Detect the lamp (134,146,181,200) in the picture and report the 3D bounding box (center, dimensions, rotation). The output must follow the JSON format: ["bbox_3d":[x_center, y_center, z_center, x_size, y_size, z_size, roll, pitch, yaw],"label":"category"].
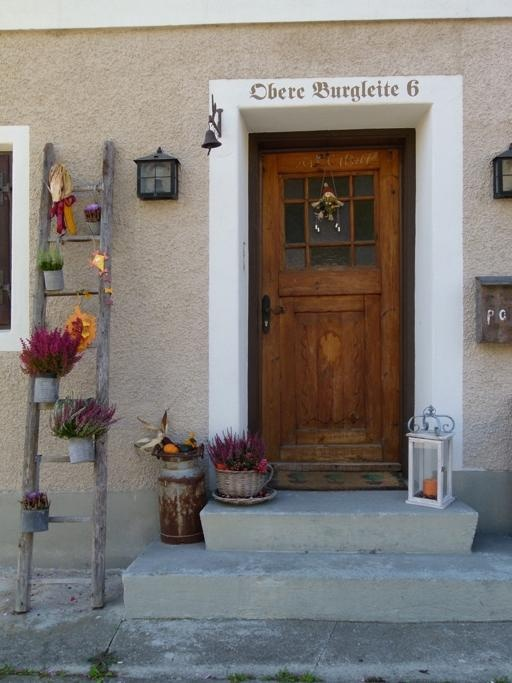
[{"bbox_3d":[-0.537,-0.900,4.519,0.303,0.324,0.242,0,2,-1],"label":"lamp"}]

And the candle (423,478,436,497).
[{"bbox_3d":[0.896,0.764,4.293,0.083,0.095,0.029,1,3,39],"label":"candle"}]

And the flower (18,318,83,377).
[{"bbox_3d":[-1.027,0.028,4.192,0.275,0.237,0.281,6,11,19],"label":"flower"}]

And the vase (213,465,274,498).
[{"bbox_3d":[-0.055,0.728,4.309,0.227,0.096,0.174,3,-6,-24],"label":"vase"}]

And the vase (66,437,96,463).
[{"bbox_3d":[-0.852,0.534,4.060,0.124,0.097,0.130,-1,-13,6],"label":"vase"}]

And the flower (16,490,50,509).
[{"bbox_3d":[-1.091,0.786,4.113,0.097,0.070,0.101,-3,2,4],"label":"flower"}]

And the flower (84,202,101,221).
[{"bbox_3d":[-0.871,-0.686,4.416,0.096,0.085,0.090,0,3,3],"label":"flower"}]

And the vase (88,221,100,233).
[{"bbox_3d":[-0.865,-0.610,4.443,0.068,0.046,0.060,-3,8,-10],"label":"vase"}]

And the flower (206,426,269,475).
[{"bbox_3d":[-0.073,0.588,4.407,0.222,0.148,0.252,1,-8,15],"label":"flower"}]

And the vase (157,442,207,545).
[{"bbox_3d":[-0.388,0.807,4.343,0.245,0.496,0.126,-1,2,-8],"label":"vase"}]

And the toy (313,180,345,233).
[{"bbox_3d":[0.437,-0.821,5.074,0.200,0.305,0.047,-1,2,3],"label":"toy"}]

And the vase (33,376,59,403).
[{"bbox_3d":[-1.039,0.247,4.188,0.132,0.136,0.135,-3,-6,42],"label":"vase"}]

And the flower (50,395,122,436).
[{"bbox_3d":[-0.854,0.377,4.038,0.232,0.154,0.243,0,1,-3],"label":"flower"}]

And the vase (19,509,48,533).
[{"bbox_3d":[-1.079,0.875,4.038,0.124,0.080,0.116,1,-5,-2],"label":"vase"}]
